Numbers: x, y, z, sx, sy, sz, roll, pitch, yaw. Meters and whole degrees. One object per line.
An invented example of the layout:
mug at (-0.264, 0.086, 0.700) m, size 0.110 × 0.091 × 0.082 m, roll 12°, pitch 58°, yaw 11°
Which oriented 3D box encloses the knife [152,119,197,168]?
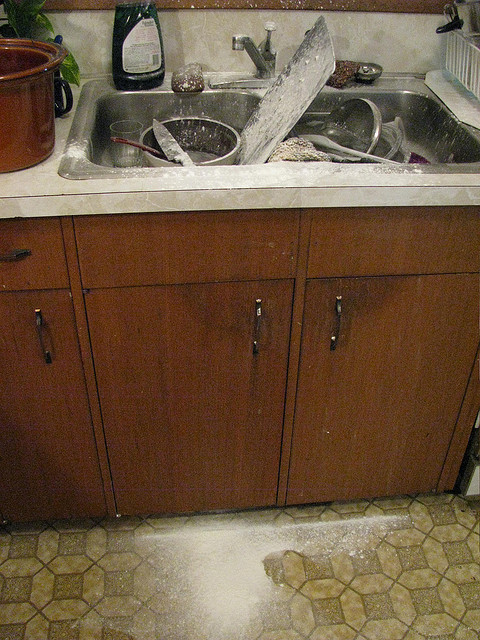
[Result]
knife at (-0.151, -0.372, 1.142) m, size 0.053 × 0.016 × 0.336 m, roll -24°, pitch 44°, yaw -3°

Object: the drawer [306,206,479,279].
drawer at (0.292, -0.220, 1.053) m, size 0.306 × 0.125 × 0.266 m, roll 2°, pitch 32°, yaw -1°

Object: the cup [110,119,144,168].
cup at (-0.267, -0.444, 1.289) m, size 0.081 × 0.137 × 0.081 m, roll 2°, pitch 8°, yaw 0°
